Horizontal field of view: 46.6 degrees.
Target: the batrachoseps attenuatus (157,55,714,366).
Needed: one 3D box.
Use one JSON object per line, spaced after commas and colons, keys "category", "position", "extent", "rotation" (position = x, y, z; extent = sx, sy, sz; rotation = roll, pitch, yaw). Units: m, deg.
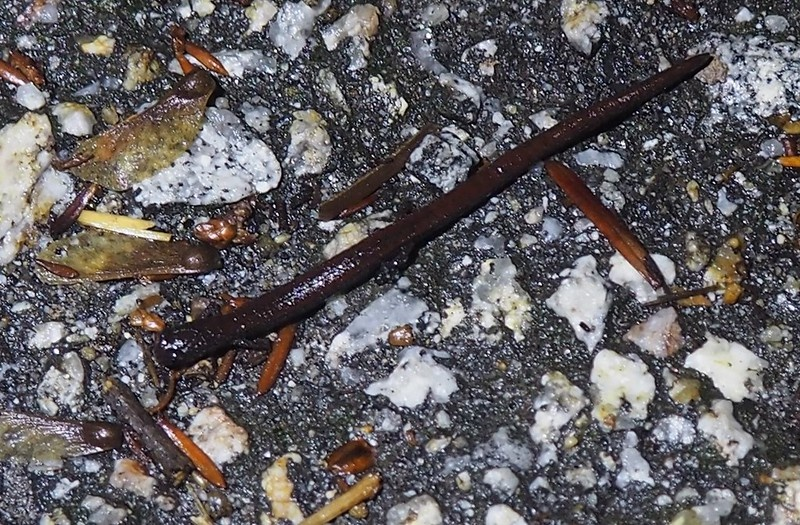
{"category": "batrachoseps attenuatus", "position": [0.087, -0.170, 4.070], "extent": [2.018, 0.229, 0.185], "rotation": [-35, 114, -5]}
